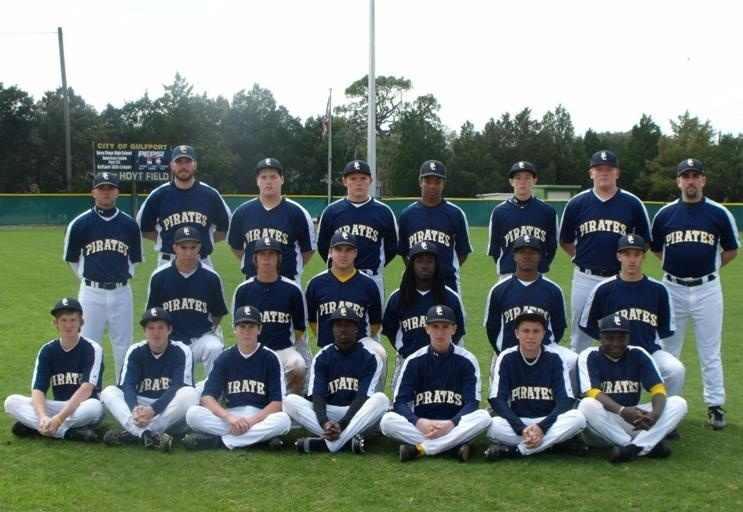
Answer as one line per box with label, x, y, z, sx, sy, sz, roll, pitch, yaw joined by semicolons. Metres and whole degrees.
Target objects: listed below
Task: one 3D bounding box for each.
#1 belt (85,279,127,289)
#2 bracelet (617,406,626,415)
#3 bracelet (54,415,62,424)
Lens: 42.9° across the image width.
belt;-3.456;0.356;12.263;0.537;0.132;0.136;-2;11;-11
bracelet;2.835;1.755;10.778;0.022;0.074;0.078;22;-23;-6
bracelet;-3.640;1.896;11.013;0.083;0.057;0.081;2;-2;-6
